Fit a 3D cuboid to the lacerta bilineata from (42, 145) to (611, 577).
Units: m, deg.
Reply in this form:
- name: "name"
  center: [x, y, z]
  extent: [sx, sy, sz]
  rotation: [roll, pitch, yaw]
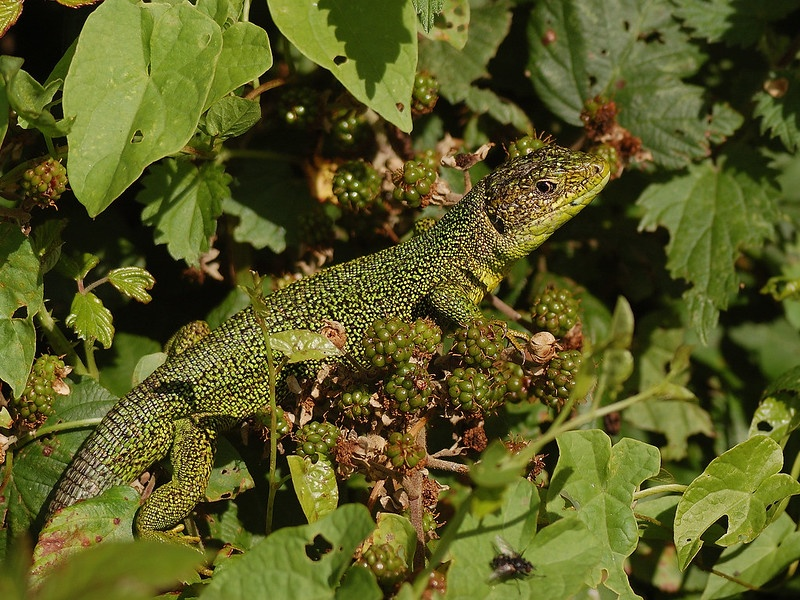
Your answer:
- name: "lacerta bilineata"
  center: [-0.469, 0.192, 4.524]
  extent: [3.256, 1.296, 1.028]
  rotation: [-21, -56, -15]
